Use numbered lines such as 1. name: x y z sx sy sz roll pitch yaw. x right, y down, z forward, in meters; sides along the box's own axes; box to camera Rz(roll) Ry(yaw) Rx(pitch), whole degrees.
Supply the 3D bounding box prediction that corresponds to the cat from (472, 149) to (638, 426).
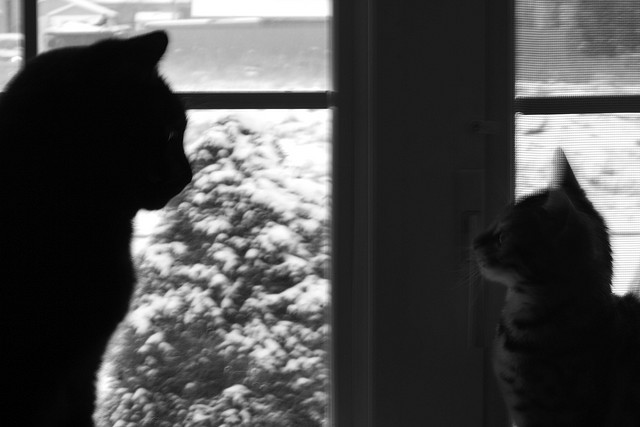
1. cat: 0.490 0.159 2.205 0.338 0.552 0.208 -1 15 6
